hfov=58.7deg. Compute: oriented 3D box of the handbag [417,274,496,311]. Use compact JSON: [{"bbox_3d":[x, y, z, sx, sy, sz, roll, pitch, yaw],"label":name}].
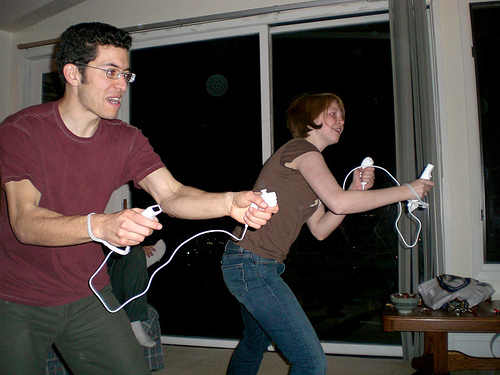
[{"bbox_3d":[1.314,0.661,2.841,0.315,0.114,0.239,-8,13,0],"label":"handbag"}]
